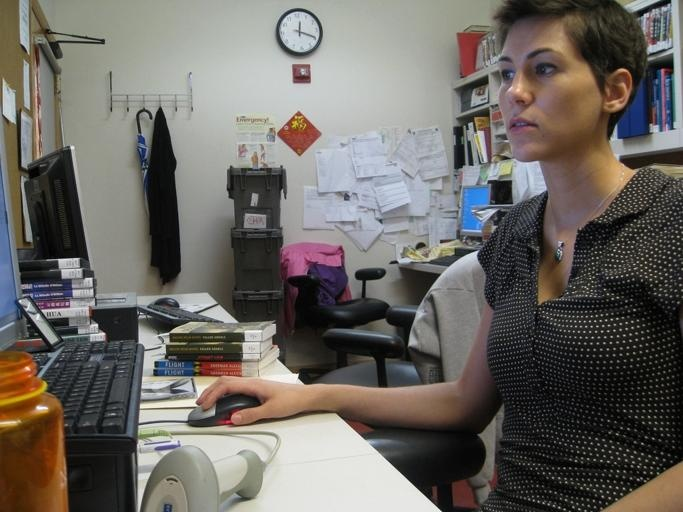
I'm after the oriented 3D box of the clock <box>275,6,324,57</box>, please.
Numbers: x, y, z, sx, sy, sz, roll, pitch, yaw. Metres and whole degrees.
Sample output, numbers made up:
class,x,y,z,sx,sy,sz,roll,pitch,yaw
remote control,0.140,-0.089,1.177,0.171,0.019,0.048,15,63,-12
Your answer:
class,x,y,z,sx,sy,sz,roll,pitch,yaw
clock,-0.330,-1.673,3.799,0.368,0.384,0.043,0,3,-12

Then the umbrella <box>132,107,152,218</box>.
class,x,y,z,sx,sy,sz,roll,pitch,yaw
umbrella,-1.380,-0.679,3.566,0.122,0.716,0.127,-1,5,-2

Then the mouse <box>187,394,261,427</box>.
class,x,y,z,sx,sy,sz,roll,pitch,yaw
mouse,-0.241,0.306,1.019,0.106,0.035,0.061,2,-2,-14
